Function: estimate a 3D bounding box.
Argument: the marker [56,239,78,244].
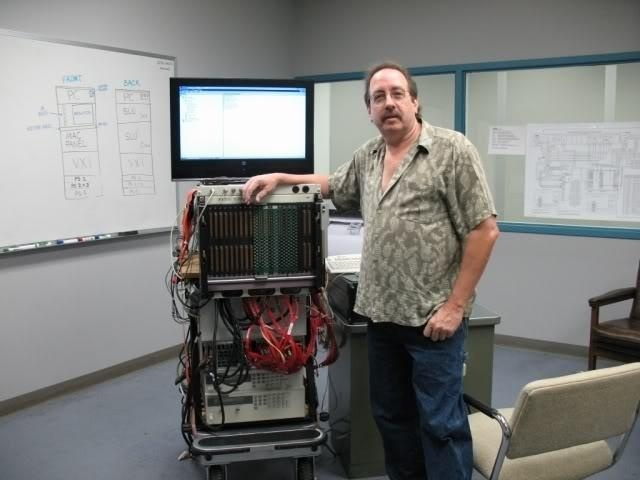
[{"bbox_3d":[-1.786,0.007,3.537,0.134,0.036,0.021,-11,15,-32],"label":"marker"}]

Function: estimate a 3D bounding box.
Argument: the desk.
[{"bbox_3d":[0.378,0.858,3.094,0.992,1.498,0.966,-2,5,-13],"label":"desk"}]
